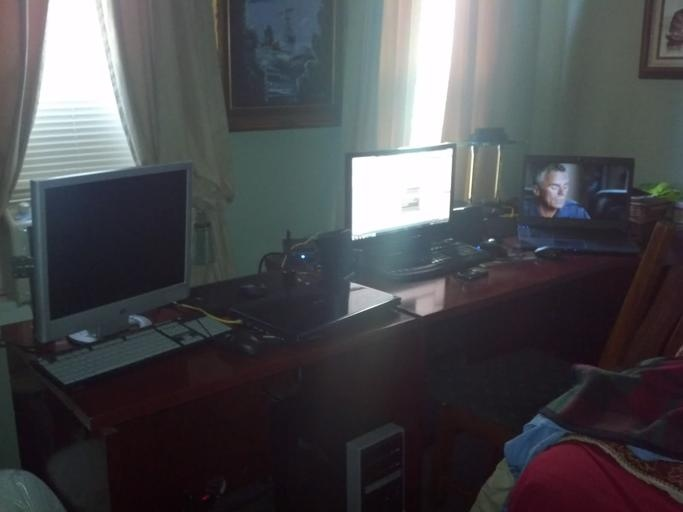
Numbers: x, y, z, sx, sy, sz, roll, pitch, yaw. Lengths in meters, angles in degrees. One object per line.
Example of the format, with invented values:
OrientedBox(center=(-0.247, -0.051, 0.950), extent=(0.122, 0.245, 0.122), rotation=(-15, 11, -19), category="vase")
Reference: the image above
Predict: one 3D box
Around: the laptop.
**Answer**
OrientedBox(center=(1.082, -0.256, 2.633), extent=(0.583, 0.394, 0.509), rotation=(10, 18, 35), category="laptop")

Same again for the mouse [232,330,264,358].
OrientedBox(center=(-0.306, 0.273, 1.807), extent=(0.064, 0.027, 0.090), rotation=(-17, 31, -35), category="mouse")

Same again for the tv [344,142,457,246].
OrientedBox(center=(0.257, -0.262, 2.459), extent=(0.448, 0.310, 0.033), rotation=(-11, 19, -31), category="tv")

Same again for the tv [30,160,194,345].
OrientedBox(center=(-0.712, 0.000, 1.754), extent=(0.208, 0.520, 0.513), rotation=(14, 17, 38), category="tv")

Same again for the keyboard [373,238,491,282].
OrientedBox(center=(0.426, 0.023, 2.428), extent=(0.371, 0.038, 0.203), rotation=(-18, 26, -36), category="keyboard")
